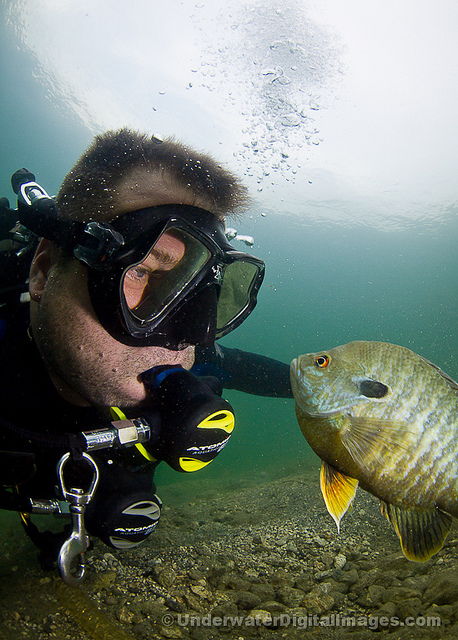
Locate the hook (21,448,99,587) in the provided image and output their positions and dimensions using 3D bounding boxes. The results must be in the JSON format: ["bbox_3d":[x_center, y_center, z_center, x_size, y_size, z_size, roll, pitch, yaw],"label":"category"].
[{"bbox_3d":[-0.712,0.900,2.446,0.269,0.457,0.415,-4,3,-23],"label":"hook"}]
